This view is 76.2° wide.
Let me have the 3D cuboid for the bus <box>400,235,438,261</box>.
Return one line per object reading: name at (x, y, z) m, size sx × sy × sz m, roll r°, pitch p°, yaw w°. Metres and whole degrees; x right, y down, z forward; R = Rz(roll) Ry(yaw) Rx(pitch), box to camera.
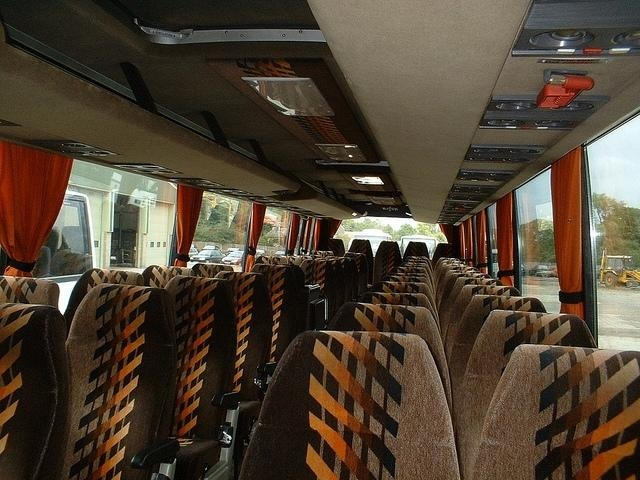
bus at (4.475, 0.178, 18.180) m, size 1.786 × 1.058 × 1.213 m, roll 1°, pitch -25°, yaw 4°
